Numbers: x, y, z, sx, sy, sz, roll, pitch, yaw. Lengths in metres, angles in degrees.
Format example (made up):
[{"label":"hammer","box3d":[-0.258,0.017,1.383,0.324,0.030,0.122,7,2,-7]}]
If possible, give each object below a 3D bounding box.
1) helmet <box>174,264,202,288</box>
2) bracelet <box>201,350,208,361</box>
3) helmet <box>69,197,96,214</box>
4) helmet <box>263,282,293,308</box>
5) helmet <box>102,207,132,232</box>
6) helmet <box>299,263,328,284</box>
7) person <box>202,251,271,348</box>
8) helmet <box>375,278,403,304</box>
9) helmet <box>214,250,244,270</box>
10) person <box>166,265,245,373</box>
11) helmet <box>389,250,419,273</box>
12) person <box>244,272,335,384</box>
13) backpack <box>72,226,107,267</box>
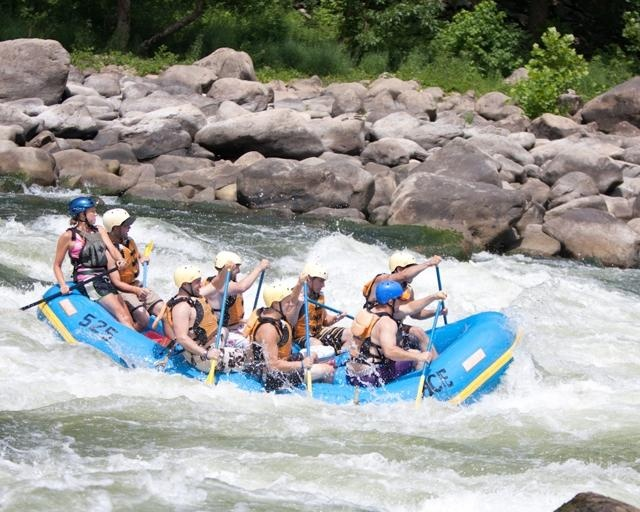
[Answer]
[{"label":"helmet","box3d":[-1.940,0.293,16.708,0.405,0.239,0.284,12,-4,0]},{"label":"bracelet","box3d":[-1.665,1.434,16.591,0.149,0.114,0.097,4,9,-16]},{"label":"helmet","box3d":[-3.699,-0.802,17.697,0.443,0.269,0.296,14,5,2]},{"label":"helmet","box3d":[-0.602,0.521,16.781,0.420,0.303,0.321,-36,0,16]},{"label":"helmet","box3d":[-3.118,-0.567,17.838,0.486,0.202,0.304,-17,8,7]},{"label":"helmet","box3d":[-0.102,0.245,17.001,0.350,0.171,0.241,16,1,10]},{"label":"person","box3d":[-1.302,0.653,17.441,0.959,1.379,1.112,-5,18,-30]},{"label":"helmet","box3d":[0.976,0.510,16.785,0.426,0.285,0.296,-25,8,4]},{"label":"helmet","box3d":[-1.362,0.052,17.056,0.363,0.152,0.252,4,0,3]},{"label":"person","box3d":[-1.699,0.935,16.805,0.988,1.486,1.120,1,18,-32]},{"label":"helmet","box3d":[1.218,0.078,17.865,0.501,0.288,0.344,10,6,16]},{"label":"person","box3d":[-0.452,1.138,16.757,1.284,1.605,0.648,10,17,-3]},{"label":"backpack","box3d":[-3.517,-0.111,17.645,0.489,0.557,0.231,5,18,-19]}]
